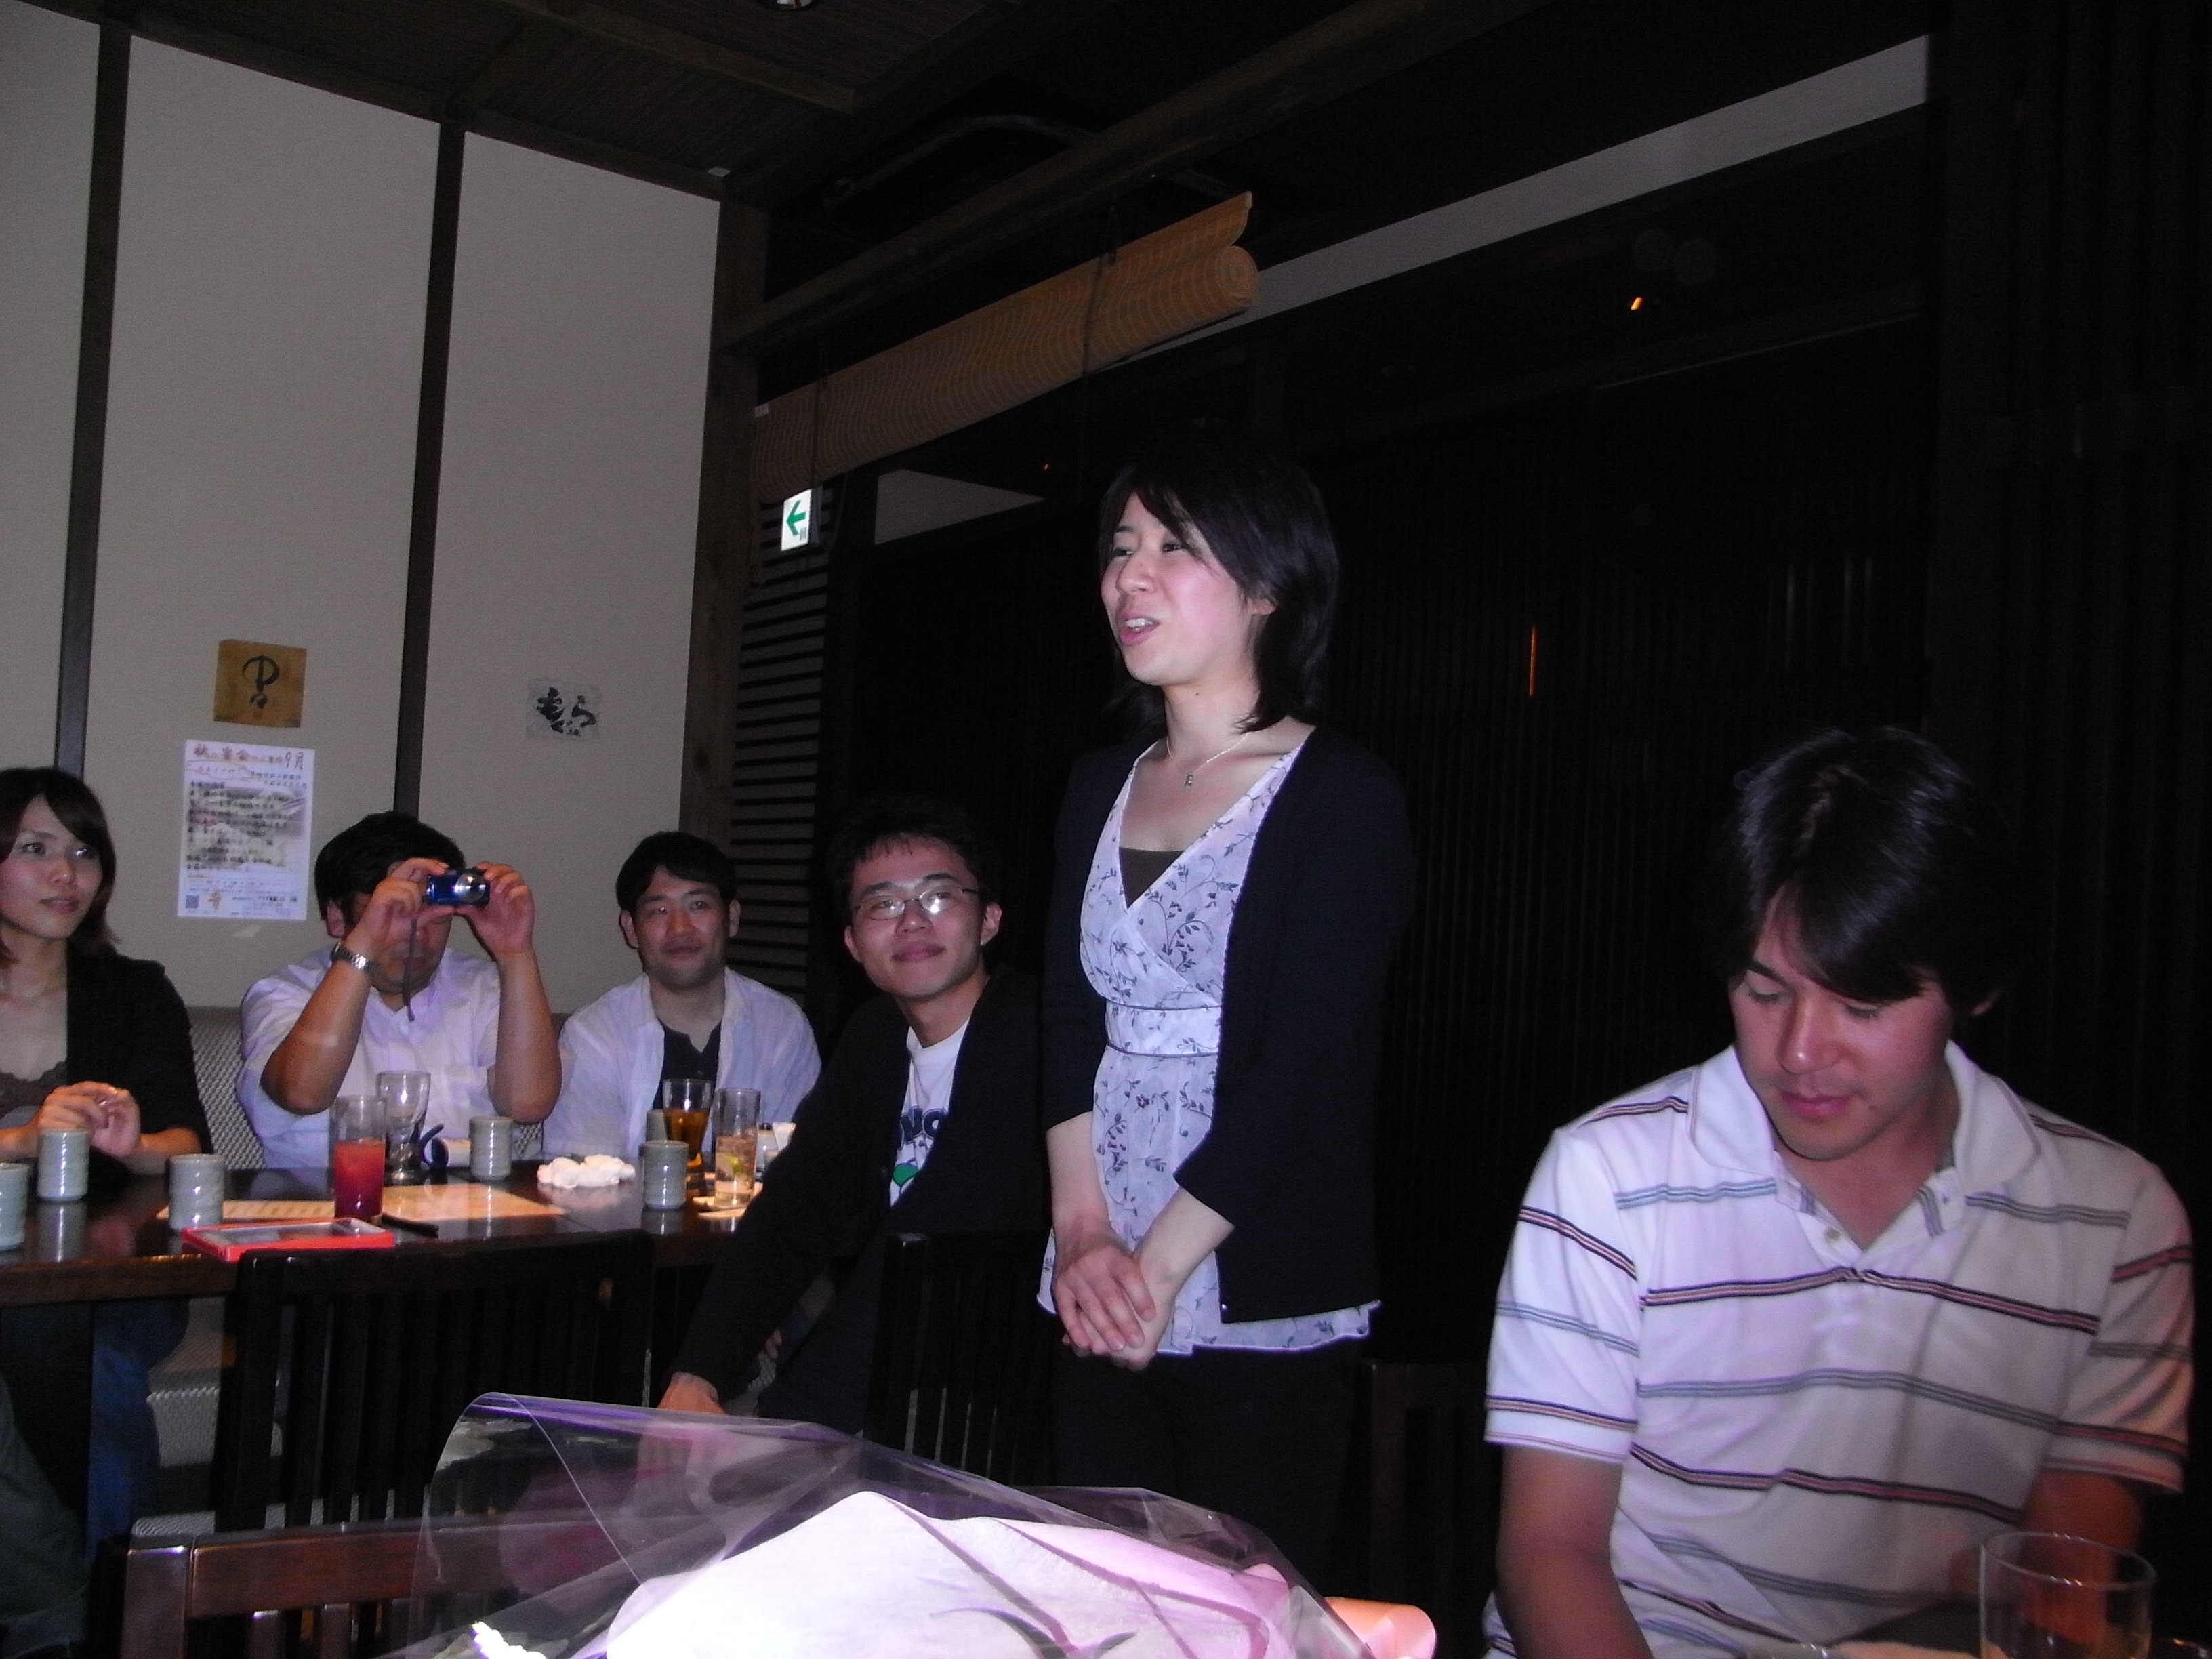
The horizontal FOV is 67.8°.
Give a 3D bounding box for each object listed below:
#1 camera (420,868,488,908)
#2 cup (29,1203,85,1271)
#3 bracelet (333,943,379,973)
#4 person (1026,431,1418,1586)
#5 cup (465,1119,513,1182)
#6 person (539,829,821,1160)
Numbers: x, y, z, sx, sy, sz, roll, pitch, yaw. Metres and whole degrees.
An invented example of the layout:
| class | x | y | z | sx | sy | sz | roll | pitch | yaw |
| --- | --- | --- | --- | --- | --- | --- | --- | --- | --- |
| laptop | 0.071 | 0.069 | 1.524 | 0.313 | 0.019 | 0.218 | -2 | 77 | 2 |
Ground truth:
| class | x | y | z | sx | sy | sz | roll | pitch | yaw |
| --- | --- | --- | --- | --- | --- | --- | --- | --- | --- |
| camera | -1.394 | 0.129 | 3.508 | 0.117 | 0.074 | 0.156 | 9 | 2 | -25 |
| cup | -1.697 | 0.656 | 2.651 | 0.094 | 0.111 | 0.096 | -1 | -14 | 0 |
| bracelet | -1.612 | 0.273 | 3.516 | 0.075 | 0.051 | 0.073 | 26 | -47 | -7 |
| person | 0.138 | 0.188 | 2.142 | 0.571 | 1.395 | 0.428 | 10 | 2 | 17 |
| cup | -1.236 | 0.650 | 3.342 | 0.105 | 0.124 | 0.108 | 2 | -4 | 0 |
| person | -0.999 | 0.455 | 3.854 | 0.633 | 0.907 | 0.579 | 5 | -10 | -32 |
